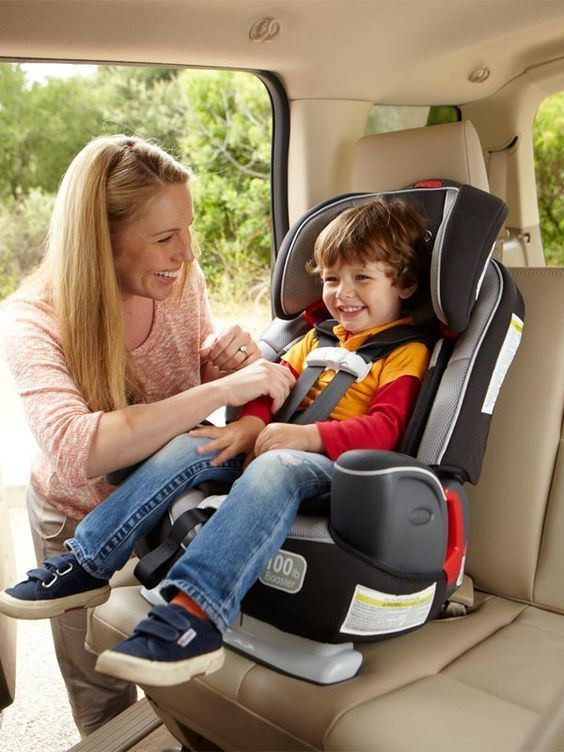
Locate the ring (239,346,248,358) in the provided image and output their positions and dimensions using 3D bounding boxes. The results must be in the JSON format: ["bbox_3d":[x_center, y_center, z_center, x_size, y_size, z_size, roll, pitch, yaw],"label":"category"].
[{"bbox_3d":[-0.089,-0.058,1.471,0.019,0.024,0.008,1,-11,-41],"label":"ring"}]

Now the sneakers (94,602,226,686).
[{"bbox_3d":[-0.157,0.365,0.827,0.089,0.099,0.154,0,1,34],"label":"sneakers"}]
